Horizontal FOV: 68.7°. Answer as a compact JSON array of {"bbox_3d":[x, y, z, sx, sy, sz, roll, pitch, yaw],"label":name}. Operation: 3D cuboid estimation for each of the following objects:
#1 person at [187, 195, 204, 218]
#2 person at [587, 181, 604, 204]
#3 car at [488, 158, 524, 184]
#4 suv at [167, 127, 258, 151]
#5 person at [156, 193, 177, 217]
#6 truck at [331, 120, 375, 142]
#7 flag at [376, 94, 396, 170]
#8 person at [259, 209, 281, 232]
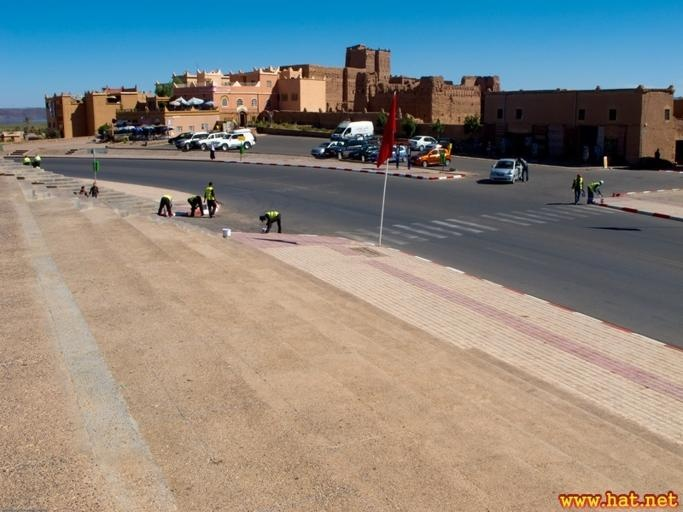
[{"bbox_3d":[-7.599,-2.631,26.228,0.686,1.124,1.234,-1,15,-15],"label":"person"},{"bbox_3d":[16.150,-3.994,31.737,1.242,0.752,2.181,1,-16,16],"label":"person"},{"bbox_3d":[12.395,-6.317,37.377,1.662,1.180,2.388,5,13,25],"label":"car"},{"bbox_3d":[-14.785,-13.547,58.861,8.558,2.511,2.849,3,15,1],"label":"suv"},{"bbox_3d":[-9.012,-2.591,25.660,0.851,1.198,2.074,-2,15,-18],"label":"person"},{"bbox_3d":[1.495,-14.680,58.446,5.345,2.857,2.914,-6,13,-27],"label":"truck"},{"bbox_3d":[1.952,-5.135,20.551,0.123,3.033,0.677,2,8,-38],"label":"flag"},{"bbox_3d":[-3.386,-1.752,23.770,0.873,1.133,3.127,0,15,-10],"label":"person"}]
